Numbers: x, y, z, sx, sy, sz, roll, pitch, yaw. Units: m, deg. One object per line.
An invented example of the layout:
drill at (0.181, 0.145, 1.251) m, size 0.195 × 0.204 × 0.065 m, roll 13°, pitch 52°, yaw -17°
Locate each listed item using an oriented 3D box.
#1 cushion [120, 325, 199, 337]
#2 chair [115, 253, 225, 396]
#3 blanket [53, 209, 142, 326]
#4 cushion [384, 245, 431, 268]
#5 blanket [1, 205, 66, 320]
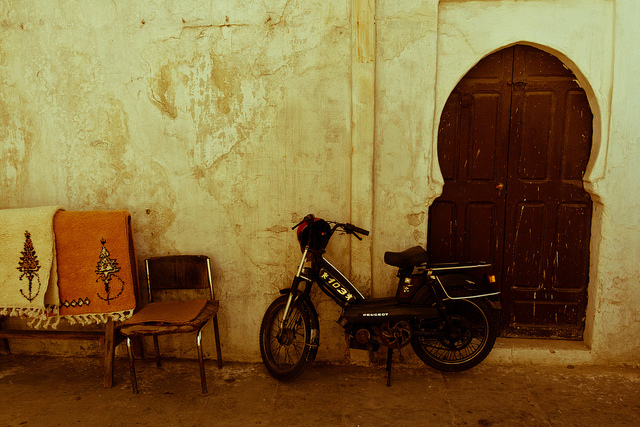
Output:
cushion at (-1.612, 1.185, 5.926) m, size 0.780 × 0.142 × 0.066 m, roll 1°, pitch 4°, yaw -3°
chair at (-1.568, 1.176, 6.241) m, size 0.911 × 1.359 × 0.953 m, roll -4°, pitch 8°, yaw -9°
blanket at (-2.338, 0.533, 6.126) m, size 0.897 × 1.137 × 0.328 m, roll -2°, pitch 2°, yaw -4°
cushion at (0.906, 0.453, 6.144) m, size 0.351 × 0.137 × 0.226 m, roll -3°, pitch 8°, yaw -7°
blanket at (-2.981, 0.535, 6.203) m, size 0.871 × 0.978 × 0.283 m, roll -1°, pitch 3°, yaw 5°
